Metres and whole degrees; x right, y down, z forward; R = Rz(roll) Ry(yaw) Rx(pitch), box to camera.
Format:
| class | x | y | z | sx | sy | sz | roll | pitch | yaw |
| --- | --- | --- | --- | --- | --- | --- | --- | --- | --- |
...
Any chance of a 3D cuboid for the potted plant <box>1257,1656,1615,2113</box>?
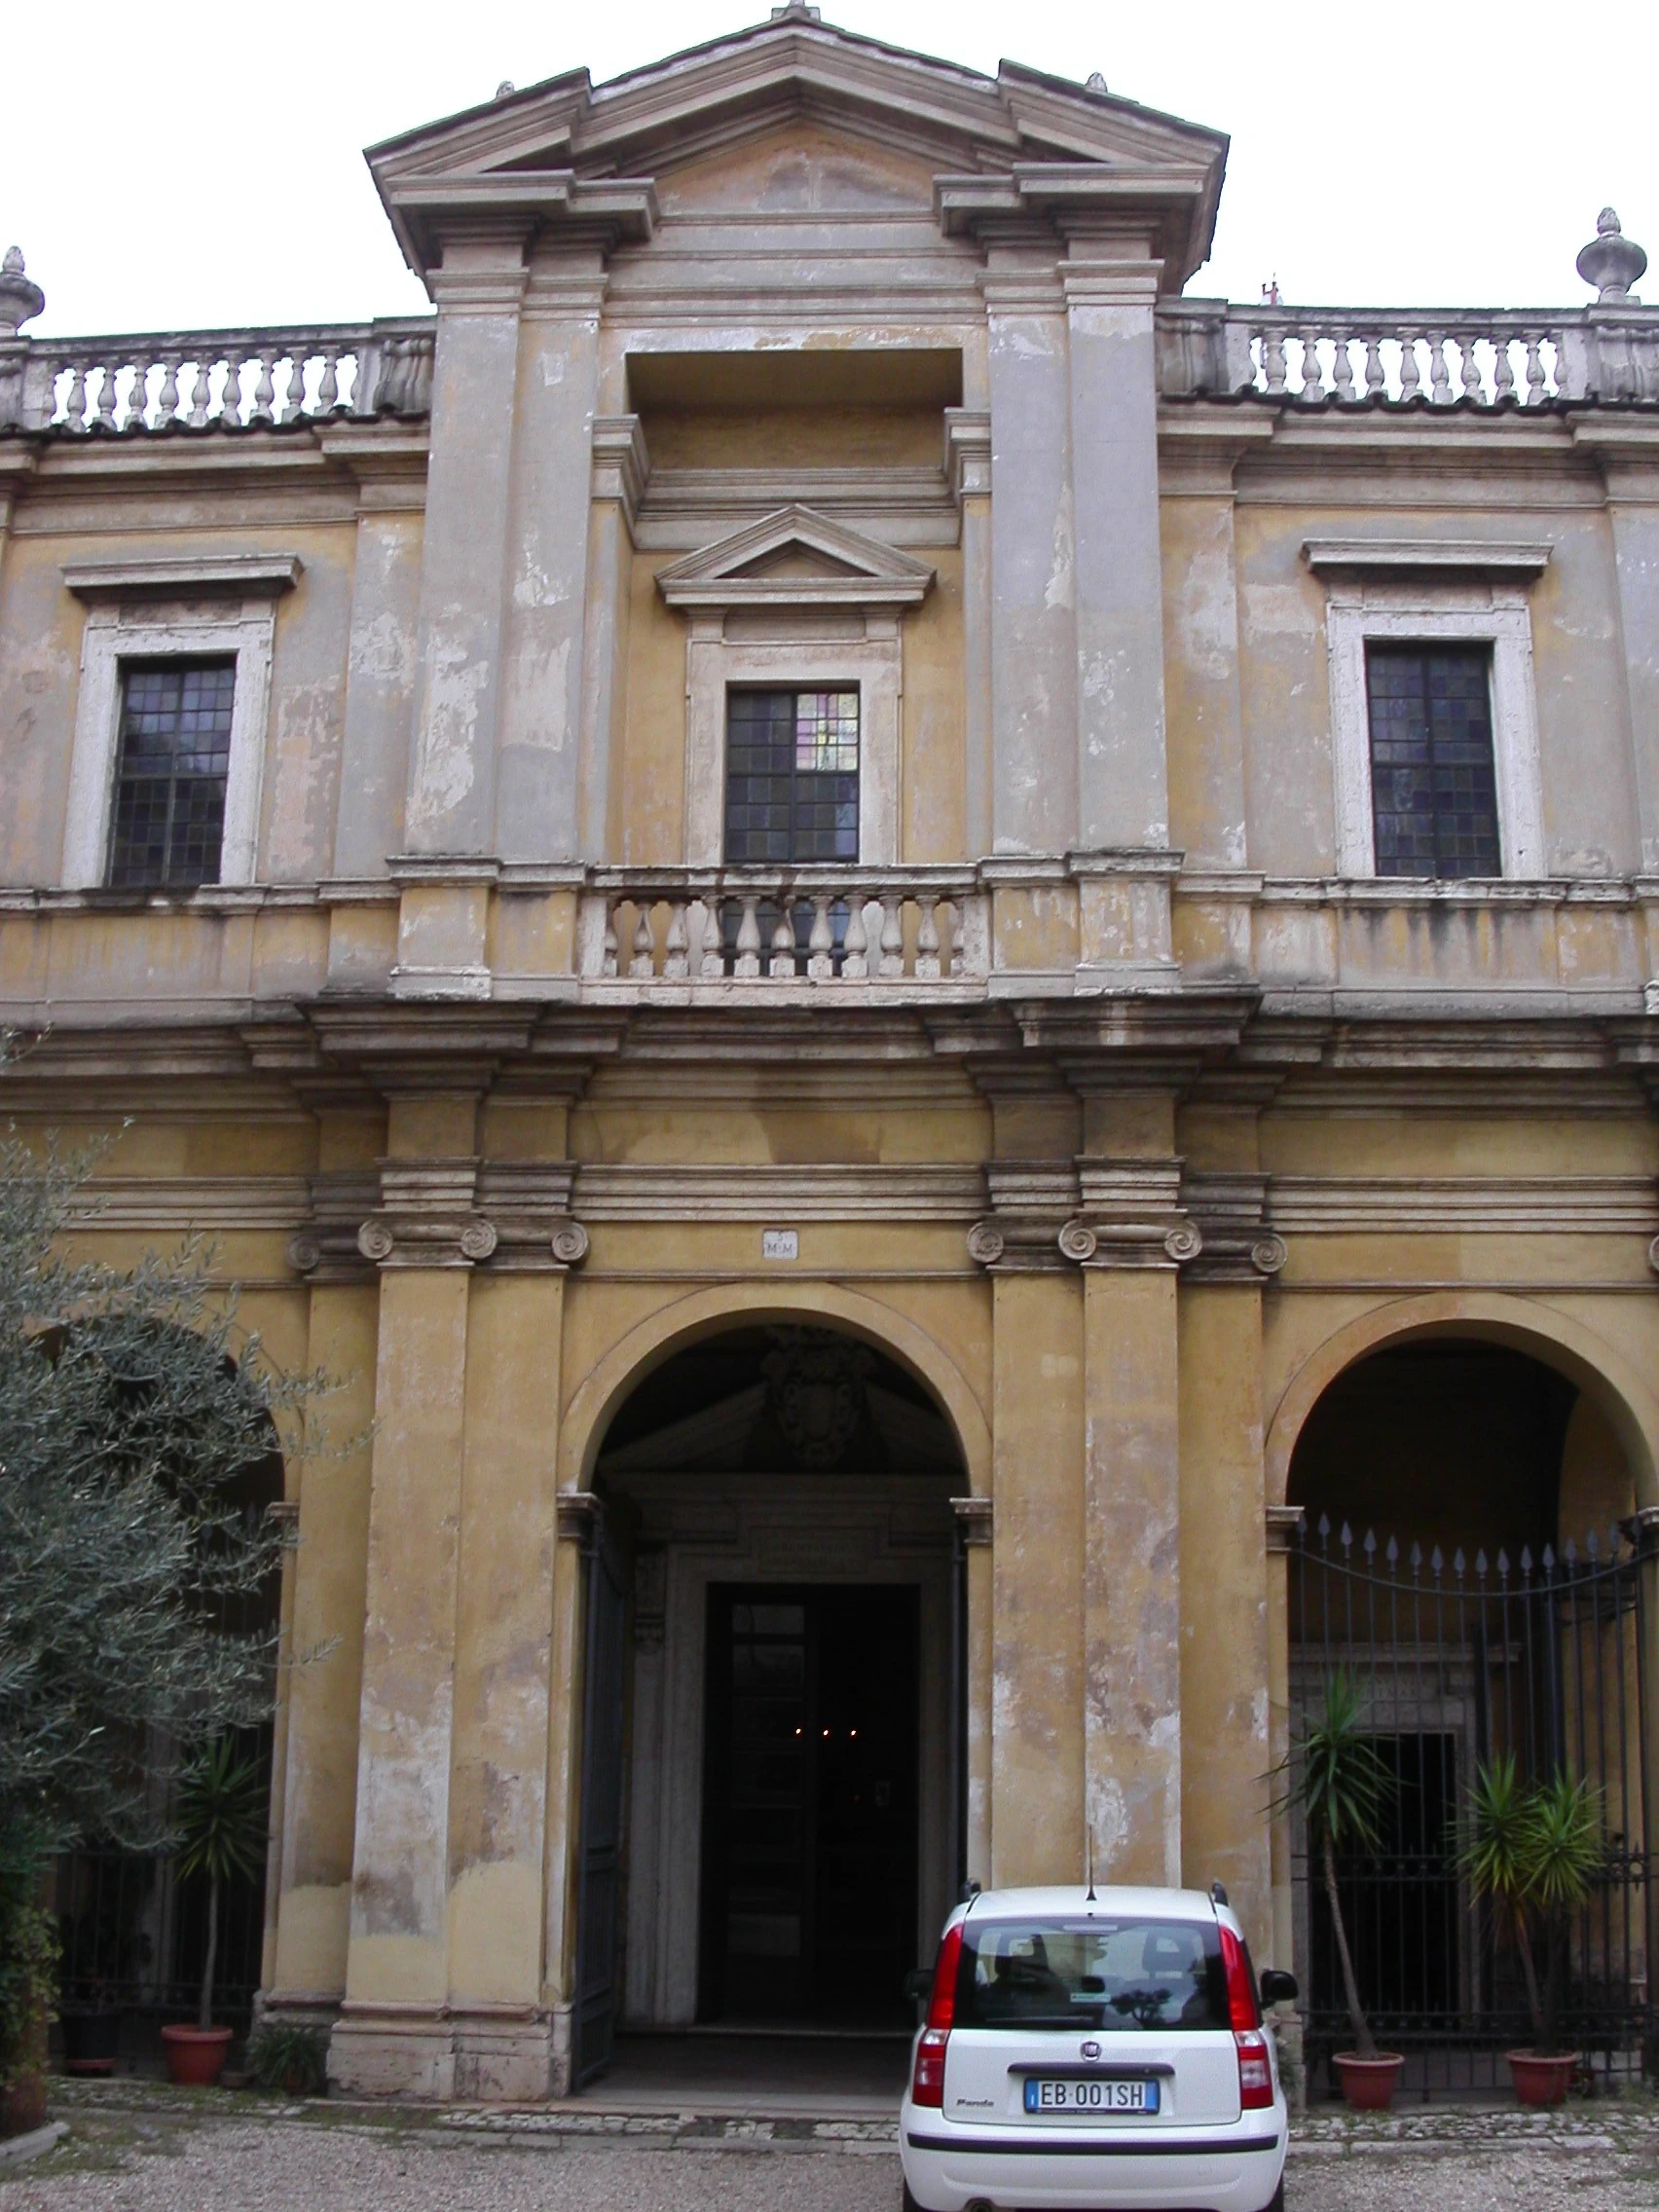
| class | x | y | z | sx | sy | sz | roll | pitch | yaw |
| --- | --- | --- | --- | --- | --- | --- | --- | --- | --- |
| potted plant | 3.176 | 4.070 | 12.128 | 1.871 | 2.497 | 1.064 | 2 | -20 | -8 |
